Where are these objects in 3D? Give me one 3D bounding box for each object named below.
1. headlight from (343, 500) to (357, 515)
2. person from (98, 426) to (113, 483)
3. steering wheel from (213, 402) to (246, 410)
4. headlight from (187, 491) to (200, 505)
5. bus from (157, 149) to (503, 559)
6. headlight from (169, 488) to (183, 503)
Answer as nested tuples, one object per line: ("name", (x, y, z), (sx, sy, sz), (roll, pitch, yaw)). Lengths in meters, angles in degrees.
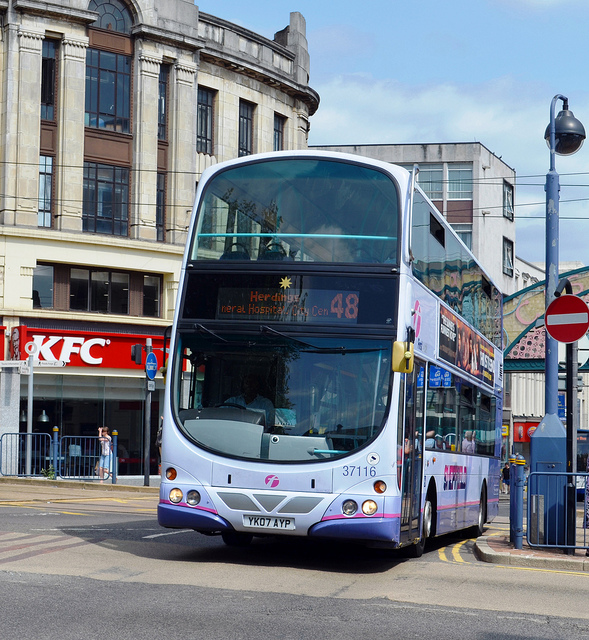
("headlight", (0.571, 1.947, 11.748), (0.135, 0.137, 0.036), (2, -5, 0))
("person", (-4.643, 3.352, 28.019), (0.338, 1.296, 0.989), (2, -6, -10))
("steering wheel", (-0.690, 0.925, 12.196), (0.368, 0.064, 0.026), (-2, -6, 29))
("headlight", (-1.075, 1.907, 12.147), (0.151, 0.141, 0.044), (-3, -6, 36))
("bus", (1.113, 0.952, 16.959), (2.977, 4.706, 10.475), (0, -7, 16))
("headlight", (-1.273, 1.896, 12.234), (0.123, 0.151, 0.032), (9, 4, 31))
